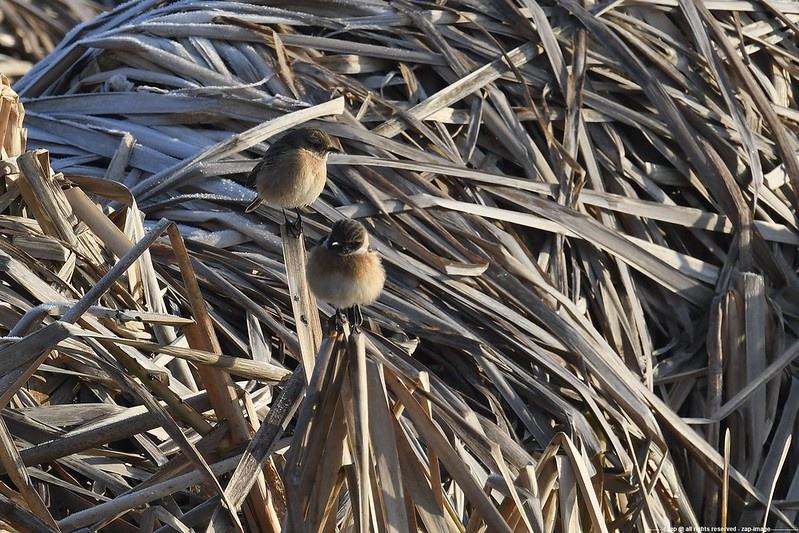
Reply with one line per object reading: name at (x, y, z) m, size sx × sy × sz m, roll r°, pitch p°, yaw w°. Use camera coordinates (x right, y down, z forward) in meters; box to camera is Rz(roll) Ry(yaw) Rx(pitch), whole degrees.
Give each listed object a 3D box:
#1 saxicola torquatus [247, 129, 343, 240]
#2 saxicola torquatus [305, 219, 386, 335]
saxicola torquatus at (-0.636, -0.474, 7.547) m, size 0.434 × 0.526 × 0.613 m, roll 14°, pitch 25°, yaw -4°
saxicola torquatus at (-0.285, 0.027, 6.990) m, size 0.398 × 0.468 × 0.332 m, roll 14°, pitch 25°, yaw -4°
